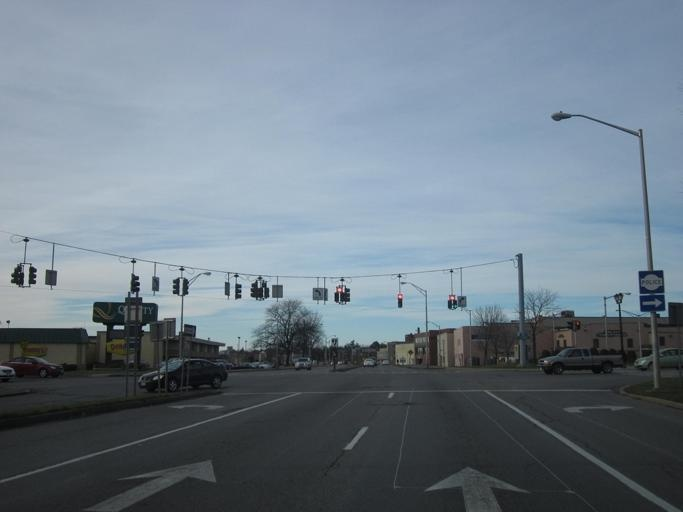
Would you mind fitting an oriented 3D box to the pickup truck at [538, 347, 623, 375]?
[{"bbox_3d":[16.144,7.188,45.088,4.766,1.729,2.307,2,-12,-1],"label":"pickup truck"}]

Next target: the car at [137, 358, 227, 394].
[{"bbox_3d":[-8.160,6.010,33.770,2.359,1.743,5.251,-5,-12,18],"label":"car"}]
